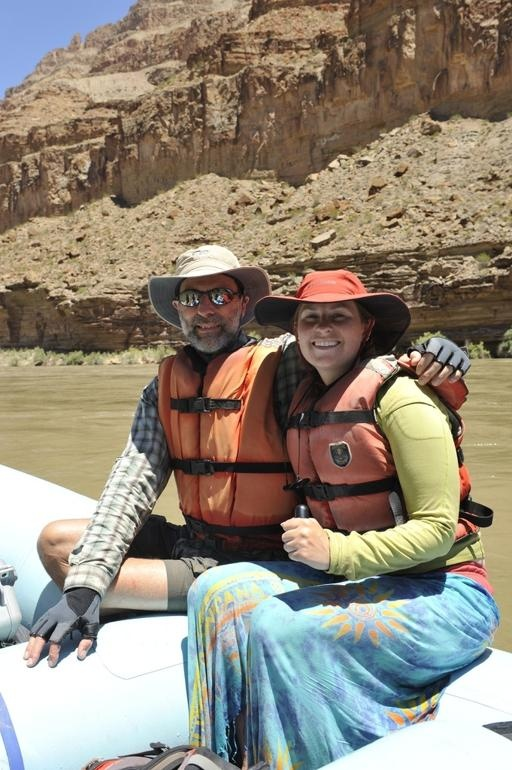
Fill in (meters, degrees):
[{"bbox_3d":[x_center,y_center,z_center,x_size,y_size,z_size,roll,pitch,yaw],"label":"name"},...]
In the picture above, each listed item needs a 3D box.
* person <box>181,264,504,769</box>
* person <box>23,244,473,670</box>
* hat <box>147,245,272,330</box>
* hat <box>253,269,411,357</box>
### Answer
[{"bbox_3d":[0.189,0.270,1.825,0.718,1.062,0.887,0,10,17],"label":"person"},{"bbox_3d":[-0.030,0.142,2.357,1.416,1.112,0.823,-3,2,9],"label":"person"},{"bbox_3d":[-0.173,-0.416,2.796,0.391,0.150,0.393,-3,-26,4],"label":"hat"},{"bbox_3d":[0.272,-0.206,2.176,0.348,0.124,0.338,-2,-20,16],"label":"hat"}]
